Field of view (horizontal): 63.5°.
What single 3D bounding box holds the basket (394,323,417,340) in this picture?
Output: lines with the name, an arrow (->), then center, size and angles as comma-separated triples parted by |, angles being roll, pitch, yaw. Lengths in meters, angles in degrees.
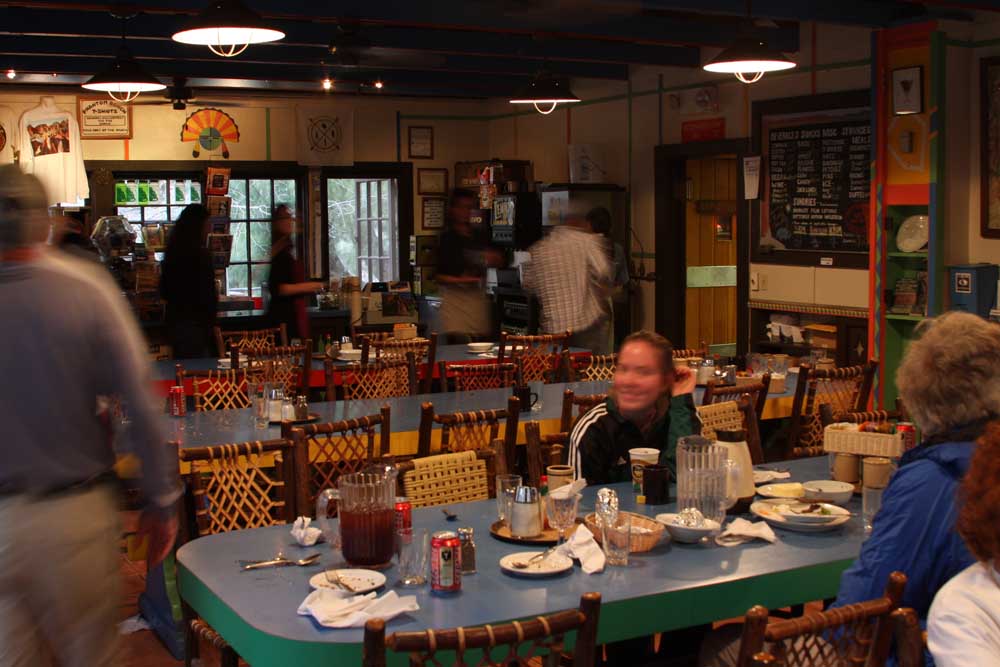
basket -> -0.863, -0.020, 7.310 | 0.219, 0.150, 0.152 | -2, 2, -42

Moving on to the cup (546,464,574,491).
cup -> 0.229, 0.550, 3.123 | 0.090, 0.095, 0.089 | 0, 5, 0

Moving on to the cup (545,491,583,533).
cup -> 0.204, 0.626, 2.911 | 0.140, 0.161, 0.147 | 0, -1, 0

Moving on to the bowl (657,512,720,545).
bowl -> 0.672, 0.678, 2.847 | 0.139, 0.042, 0.138 | 2, 1, 0

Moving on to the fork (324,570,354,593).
fork -> -0.498, 0.762, 2.497 | 0.033, 0.026, 0.184 | -7, 11, -39

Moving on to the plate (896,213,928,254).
plate -> 3.566, -0.865, 7.031 | 0.169, 0.312, 0.265 | -12, 11, -44

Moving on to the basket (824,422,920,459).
basket -> 1.534, 0.445, 3.358 | 0.261, 0.089, 0.265 | 1, 1, 40

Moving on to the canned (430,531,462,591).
canned -> -0.175, 0.698, 2.530 | 0.108, 0.178, 0.145 | -5, 8, -5

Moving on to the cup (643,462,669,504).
cup -> 0.618, 0.603, 3.224 | 0.094, 0.130, 0.150 | 0, 1, 8

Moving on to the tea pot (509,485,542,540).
tea pot -> 0.087, 0.637, 2.873 | 0.172, 0.166, 0.105 | 1, 0, 16

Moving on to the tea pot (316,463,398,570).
tea pot -> -0.467, 0.611, 2.787 | 0.347, 0.350, 0.233 | -1, 2, -1

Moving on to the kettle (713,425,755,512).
kettle -> 0.859, 0.506, 3.123 | 0.192, 0.282, 0.296 | 0, 7, 8

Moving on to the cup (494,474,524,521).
cup -> 0.021, 0.602, 2.985 | 0.099, 0.156, 0.160 | 3, 9, 11

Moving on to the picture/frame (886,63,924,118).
picture/frame -> 3.409, -2.037, 6.823 | 0.103, 0.399, 0.289 | -9, 9, -32
